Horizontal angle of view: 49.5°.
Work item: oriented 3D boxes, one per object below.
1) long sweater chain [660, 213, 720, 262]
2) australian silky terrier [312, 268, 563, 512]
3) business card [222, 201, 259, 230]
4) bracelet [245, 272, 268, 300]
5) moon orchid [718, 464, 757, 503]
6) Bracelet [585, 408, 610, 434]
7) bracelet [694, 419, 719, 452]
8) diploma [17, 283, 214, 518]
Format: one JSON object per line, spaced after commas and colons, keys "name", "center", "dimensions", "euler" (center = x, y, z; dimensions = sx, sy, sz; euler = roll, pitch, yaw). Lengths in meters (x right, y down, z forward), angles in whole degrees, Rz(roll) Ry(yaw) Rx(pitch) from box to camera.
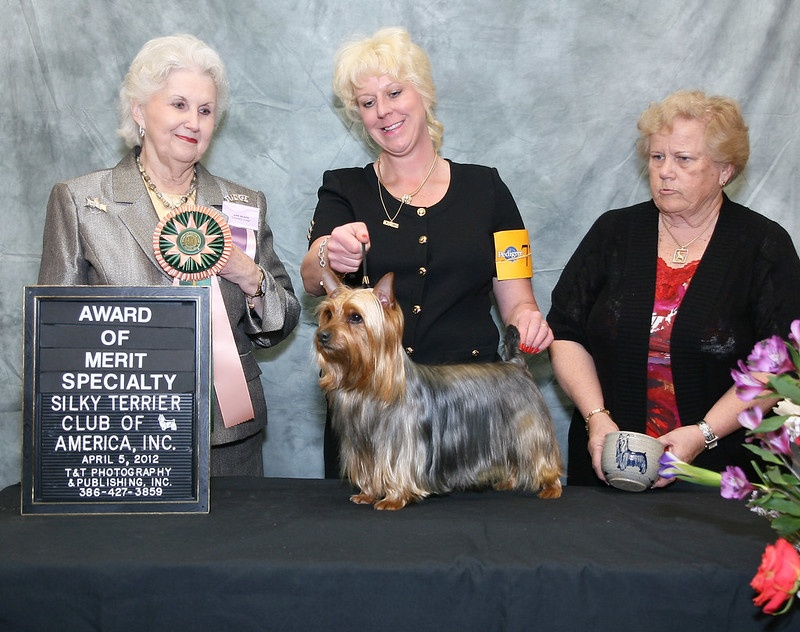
{"name": "long sweater chain", "center": [1.242, -0.316, 3.751], "dimensions": [0.170, 0.260, 0.063], "euler": [6, 26, 18]}
{"name": "australian silky terrier", "center": [0.125, 0.274, 3.197], "dimensions": [0.942, 0.801, 0.384], "euler": [0, -9, -24]}
{"name": "business card", "center": [-0.641, -0.392, 3.459], "dimensions": [0.156, 0.100, 0.020], "euler": [10, -29, -21]}
{"name": "bracelet", "center": [-0.555, -0.110, 3.321], "dimensions": [0.077, 0.093, 0.054], "euler": [-3, 4, -3]}
{"name": "moon orchid", "center": [0.857, 0.428, 2.217], "dimensions": [0.086, 0.086, 0.052], "euler": [2, 7, 5]}
{"name": "Bracelet", "center": [0.813, 0.429, 3.583], "dimensions": [0.094, 0.098, 0.169], "euler": [3, 7, 11]}
{"name": "bracelet", "center": [1.195, 0.457, 3.418], "dimensions": [0.084, 0.109, 0.117], "euler": [-17, 13, -3]}
{"name": "diploma", "center": [-0.926, 0.294, 2.809], "dimensions": [0.805, 0.852, 0.074], "euler": [0, -5, -5]}
